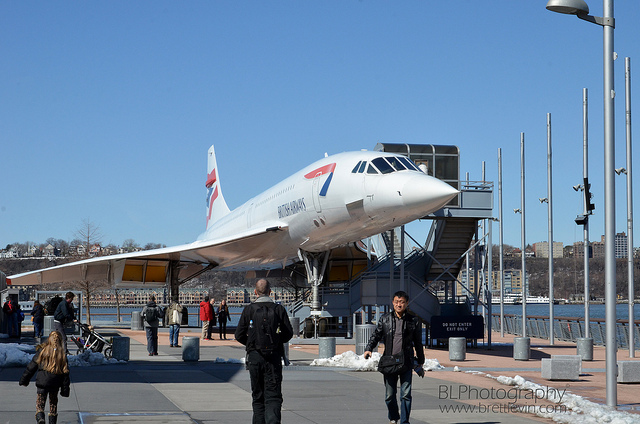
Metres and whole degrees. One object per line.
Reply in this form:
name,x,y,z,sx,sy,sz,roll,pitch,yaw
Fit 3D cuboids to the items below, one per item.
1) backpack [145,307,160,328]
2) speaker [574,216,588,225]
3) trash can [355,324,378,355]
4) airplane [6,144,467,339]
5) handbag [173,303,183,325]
backpack,-5.893,3.664,29.875,0.463,0.588,0.609,2,0,3
speaker,9.892,0.315,32.565,0.575,0.317,0.473,0,-8,-7
trash can,1.604,4.508,29.837,0.855,1.227,0.811,-2,2,-18
airplane,-2.039,2.107,37.298,13.016,5.407,13.910,-1,-7,-24
handbag,-5.345,3.778,31.868,0.329,0.714,0.211,3,-9,-28
